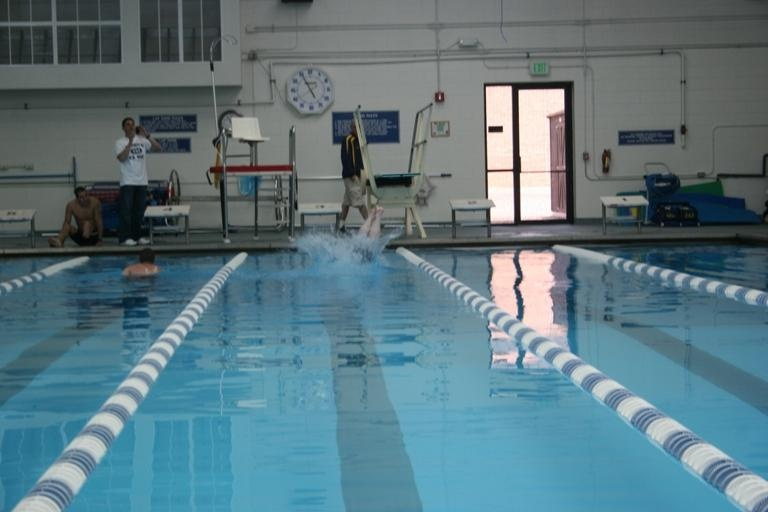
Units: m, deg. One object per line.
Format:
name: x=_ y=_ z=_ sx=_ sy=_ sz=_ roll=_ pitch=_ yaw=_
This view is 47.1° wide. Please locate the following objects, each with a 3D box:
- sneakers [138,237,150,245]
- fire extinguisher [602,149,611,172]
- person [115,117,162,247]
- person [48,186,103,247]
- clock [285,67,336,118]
sneakers: x=-3.872 y=-0.225 z=14.235 sx=0.146 sy=0.078 sz=0.215 roll=0 pitch=6 yaw=-1
fire extinguisher: x=4.193 y=-1.767 z=16.621 sx=0.209 sy=0.451 sz=0.124 roll=-2 pitch=6 yaw=-17
person: x=-3.955 y=-1.169 z=14.018 sx=0.577 sy=1.955 sz=0.645 roll=-5 pitch=8 yaw=-42
person: x=-4.840 y=-0.579 z=13.907 sx=0.598 sy=1.074 sz=1.059 roll=1 pitch=5 yaw=22
clock: x=-1.427 y=-3.065 z=16.436 sx=0.765 sy=0.942 sz=0.100 roll=0 pitch=1 yaw=-3
